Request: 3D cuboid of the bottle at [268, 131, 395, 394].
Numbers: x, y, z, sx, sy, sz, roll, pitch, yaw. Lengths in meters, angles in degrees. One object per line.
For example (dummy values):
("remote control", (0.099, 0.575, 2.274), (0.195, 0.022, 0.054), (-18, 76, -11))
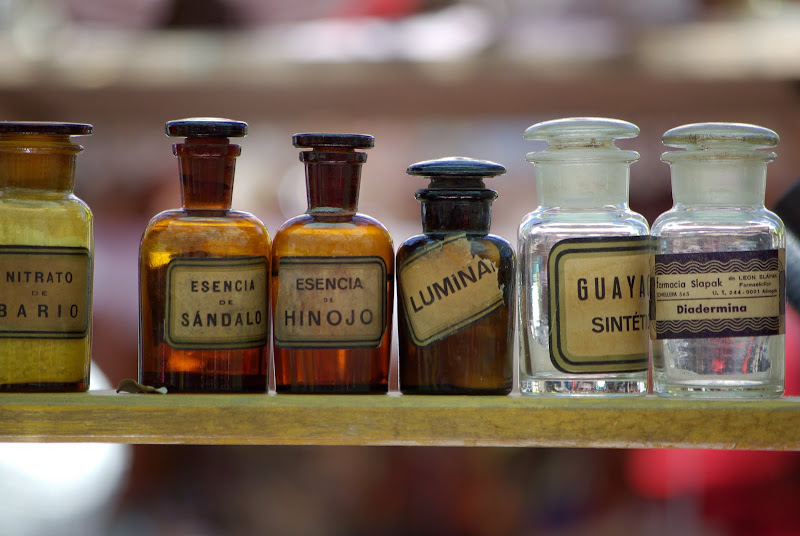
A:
("bottle", (-0.076, -0.011, 1.508), (0.137, 0.308, 0.087), (-1, -7, -6))
